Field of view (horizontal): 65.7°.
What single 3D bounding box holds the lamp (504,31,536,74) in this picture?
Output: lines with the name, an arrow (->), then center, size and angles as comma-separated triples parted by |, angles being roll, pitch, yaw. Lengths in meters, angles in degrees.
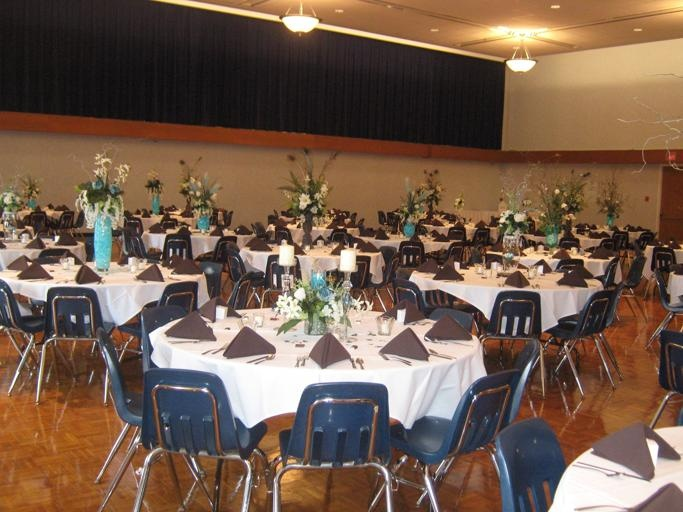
lamp -> 4.160, -4.574, 12.211 | 0.573, 0.821, 1.844 | 2, 8, 18

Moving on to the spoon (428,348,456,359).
spoon -> 0.598, 0.584, 3.106 | 0.039, 0.051, 0.273 | 11, -13, 41

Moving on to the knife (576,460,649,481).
knife -> 0.940, 0.737, 1.813 | 0.191, 0.016, 0.041 | 2, 22, 35
